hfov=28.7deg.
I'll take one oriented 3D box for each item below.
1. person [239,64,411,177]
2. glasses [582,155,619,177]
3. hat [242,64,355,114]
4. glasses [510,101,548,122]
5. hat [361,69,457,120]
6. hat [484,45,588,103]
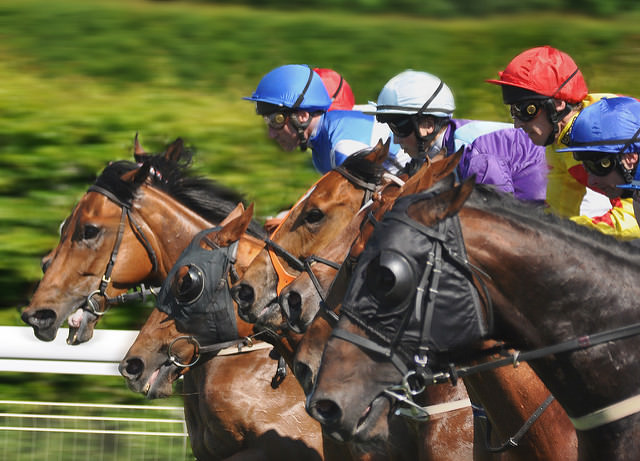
[{"bbox_3d":[0.185,-0.670,7.427,1.570,0.611,0.421,4,2,-34],"label":"person"},{"bbox_3d":[1.394,-0.333,6.260,0.113,0.061,0.142,1,4,42],"label":"glasses"},{"bbox_3d":[-0.135,-0.847,7.525,0.578,0.193,0.387,11,-1,-7],"label":"hat"},{"bbox_3d":[1.101,-0.651,6.763,0.146,0.058,0.109,3,-2,-32],"label":"glasses"},{"bbox_3d":[0.519,-0.739,6.886,0.374,0.182,0.275,7,0,-7],"label":"hat"},{"bbox_3d":[1.189,-0.836,6.871,0.447,0.200,0.308,14,-6,-2],"label":"hat"}]
